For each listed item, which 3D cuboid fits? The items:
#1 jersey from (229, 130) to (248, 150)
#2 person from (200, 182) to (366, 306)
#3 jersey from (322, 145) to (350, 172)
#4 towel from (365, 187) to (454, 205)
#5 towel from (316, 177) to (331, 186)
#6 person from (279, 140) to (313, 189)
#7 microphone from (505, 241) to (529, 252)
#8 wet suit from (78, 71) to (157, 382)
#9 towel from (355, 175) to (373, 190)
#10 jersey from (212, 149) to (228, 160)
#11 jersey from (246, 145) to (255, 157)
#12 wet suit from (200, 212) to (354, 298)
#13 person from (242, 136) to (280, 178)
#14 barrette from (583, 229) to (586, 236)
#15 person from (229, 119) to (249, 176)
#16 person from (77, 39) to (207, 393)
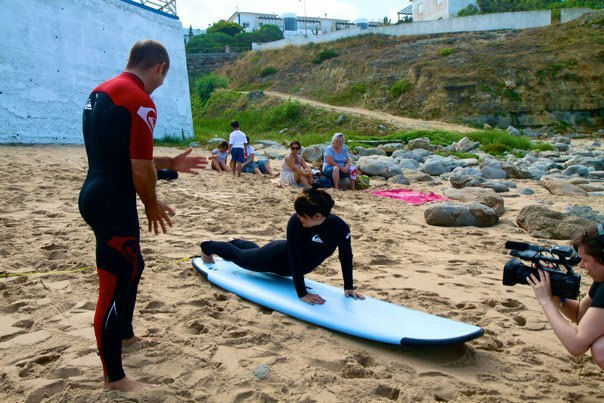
[{"bbox_3d":[-1.491,-1.547,13.540,0.620,0.568,0.337,-1,15,-6],"label":"jersey"},{"bbox_3d":[-0.358,0.460,7.926,0.830,1.433,2.523,-6,8,-45],"label":"person"},{"bbox_3d":[0.748,-0.951,12.539,0.577,0.465,0.318,-3,15,-22],"label":"jersey"},{"bbox_3d":[2.185,-0.118,12.009,1.171,0.109,1.633,-6,12,-38],"label":"towel"},{"bbox_3d":[0.426,-0.432,12.326,0.280,0.181,0.225,-8,14,-44],"label":"towel"},{"bbox_3d":[-0.116,-0.796,12.120,0.693,0.937,0.657,2,11,-1],"label":"person"},{"bbox_3d":[2.425,0.510,6.668,0.263,0.149,0.165,0,11,-12],"label":"microphone"},{"bbox_3d":[-2.007,0.261,6.404,0.760,3.329,0.756,-4,13,-27],"label":"wet suit"},{"bbox_3d":[1.264,-0.429,12.806,0.330,0.193,0.378,-13,29,-43],"label":"towel"},{"bbox_3d":[-1.902,-1.181,13.533,0.420,0.400,0.229,1,2,-11],"label":"jersey"},{"bbox_3d":[-1.204,-1.209,13.794,0.158,0.273,0.254,6,11,19],"label":"jersey"},{"bbox_3d":[-0.386,0.538,7.873,2.449,1.199,0.979,10,10,44],"label":"wet suit"},{"bbox_3d":[-1.075,-1.091,13.717,0.537,0.896,1.195,-12,19,-38],"label":"person"},{"bbox_3d":[3.093,0.335,6.415,0.027,0.059,0.059,7,11,23],"label":"barrette"},{"bbox_3d":[-1.465,-1.263,13.500,0.427,1.193,1.032,1,11,-7],"label":"person"},{"bbox_3d":[-1.974,0.125,6.434,0.773,3.801,0.940,7,12,23],"label":"person"}]
